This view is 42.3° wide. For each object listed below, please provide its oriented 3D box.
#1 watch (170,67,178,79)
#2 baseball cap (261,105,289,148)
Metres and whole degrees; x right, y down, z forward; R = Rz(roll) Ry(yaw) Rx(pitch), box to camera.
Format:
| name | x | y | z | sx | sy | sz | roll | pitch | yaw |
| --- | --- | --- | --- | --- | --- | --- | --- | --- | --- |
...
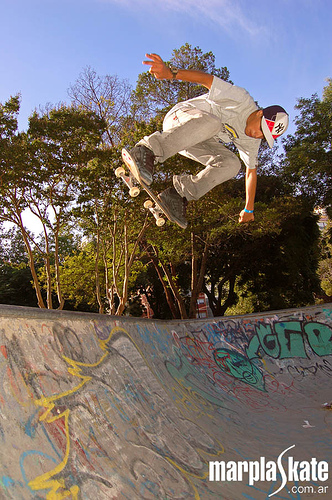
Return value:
| name | x | y | z | sx | sy | sz | roll | pitch | yaw |
| --- | --- | --- | --- | --- | --- | --- | --- | --- | --- |
| watch | 0.071 | -1.465 | 3.533 | 0.024 | 0.069 | 0.052 | 16 | 16 | 13 |
| baseball cap | 0.984 | -1.142 | 3.821 | 0.220 | 0.408 | 0.268 | -1 | -1 | 27 |
